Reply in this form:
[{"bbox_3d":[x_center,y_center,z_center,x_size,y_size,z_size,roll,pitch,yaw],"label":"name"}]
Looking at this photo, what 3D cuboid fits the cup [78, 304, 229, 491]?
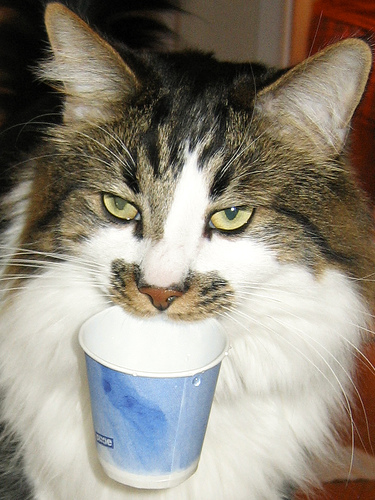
[{"bbox_3d":[-0.066,0.257,0.856,0.241,0.219,0.237,6,10,-1],"label":"cup"}]
